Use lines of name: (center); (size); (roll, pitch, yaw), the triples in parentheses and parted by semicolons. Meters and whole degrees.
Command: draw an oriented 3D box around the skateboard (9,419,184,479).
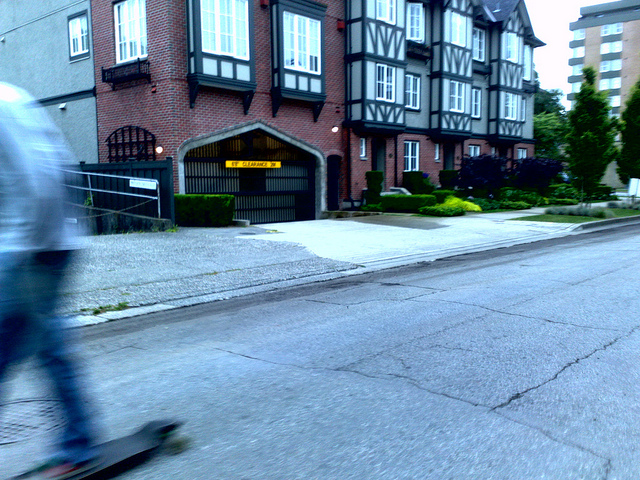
skateboard: (-1.368, 1.373, 3.406); (0.278, 0.136, 1.165); (11, 9, 32)
